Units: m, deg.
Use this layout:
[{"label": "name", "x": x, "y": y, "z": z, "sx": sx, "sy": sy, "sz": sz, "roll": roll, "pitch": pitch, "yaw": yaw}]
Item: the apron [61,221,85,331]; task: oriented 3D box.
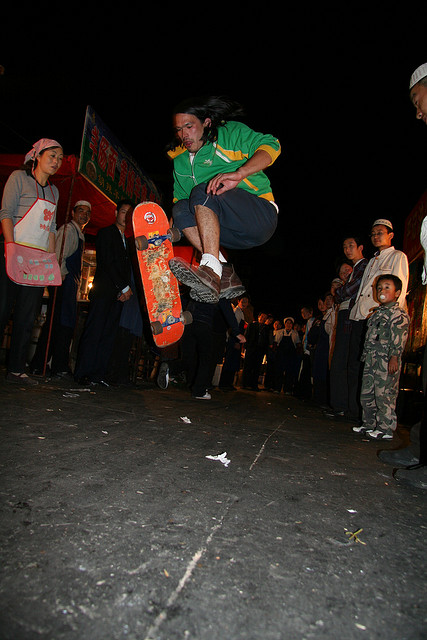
[{"label": "apron", "x": -1.822, "y": -0.507, "z": 5.131, "sx": 0.270, "sy": 1.301, "sz": 0.601, "roll": 1, "pitch": -8, "yaw": -19}]

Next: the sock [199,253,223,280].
[{"label": "sock", "x": -0.007, "y": -0.369, "z": 2.677, "sx": 0.103, "sy": 0.153, "sz": 0.155, "roll": 13, "pitch": 2, "yaw": 19}]

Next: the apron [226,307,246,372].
[{"label": "apron", "x": 0.423, "y": 0.686, "z": 8.811, "sx": 0.358, "sy": 0.822, "sz": 0.881, "roll": 9, "pitch": -6, "yaw": 3}]
